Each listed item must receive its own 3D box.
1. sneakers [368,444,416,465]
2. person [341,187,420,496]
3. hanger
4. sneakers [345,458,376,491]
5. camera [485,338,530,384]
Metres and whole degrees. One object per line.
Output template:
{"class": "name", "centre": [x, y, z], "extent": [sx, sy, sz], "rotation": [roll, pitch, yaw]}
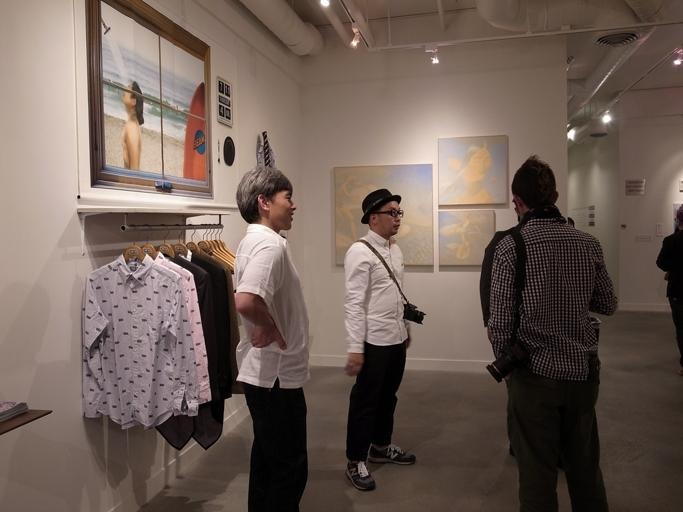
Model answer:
{"class": "sneakers", "centre": [0.412, 1.597, 3.985], "extent": [0.388, 0.170, 0.150], "rotation": [1, 0, 7]}
{"class": "person", "centre": [0.292, 0.595, 3.747], "extent": [0.599, 2.201, 0.485], "rotation": [-2, 5, -13]}
{"class": "hanger", "centre": [-1.169, -0.096, 3.762], "extent": [0.416, 0.246, 0.568], "rotation": [-1, -1, 34]}
{"class": "sneakers", "centre": [0.140, 1.654, 3.680], "extent": [0.109, 0.138, 0.283], "rotation": [2, -7, -25]}
{"class": "camera", "centre": [0.892, 0.559, 2.698], "extent": [0.216, 0.201, 0.133], "rotation": [-41, 33, -2]}
